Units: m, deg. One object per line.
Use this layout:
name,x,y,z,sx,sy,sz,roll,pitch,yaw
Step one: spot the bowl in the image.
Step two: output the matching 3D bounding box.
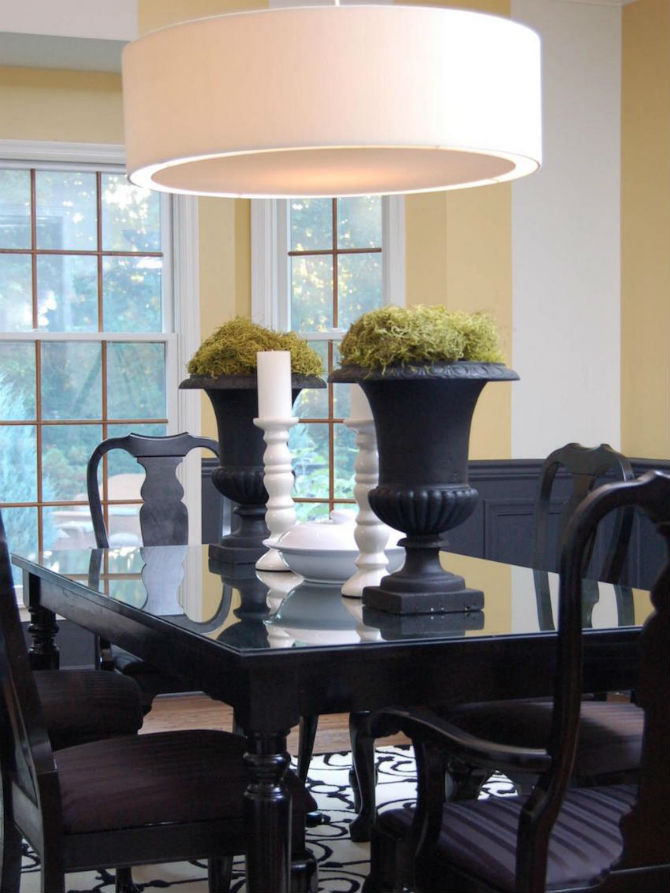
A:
bowl,-0.023,0.198,2.187,0.215,0.106,0.215,1,-1,0

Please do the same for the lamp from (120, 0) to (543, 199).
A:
lamp,-0.002,-0.558,1.865,0.681,0.221,0.579,-1,5,-10

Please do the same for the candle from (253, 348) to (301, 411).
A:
candle,-0.127,-0.131,2.369,0.068,0.137,0.108,0,5,-5

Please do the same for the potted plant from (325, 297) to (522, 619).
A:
potted plant,0.145,0.022,1.878,0.348,0.479,0.336,3,-5,-33

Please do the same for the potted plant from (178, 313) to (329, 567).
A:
potted plant,-0.197,-0.030,2.691,0.376,0.552,0.358,4,2,-19
